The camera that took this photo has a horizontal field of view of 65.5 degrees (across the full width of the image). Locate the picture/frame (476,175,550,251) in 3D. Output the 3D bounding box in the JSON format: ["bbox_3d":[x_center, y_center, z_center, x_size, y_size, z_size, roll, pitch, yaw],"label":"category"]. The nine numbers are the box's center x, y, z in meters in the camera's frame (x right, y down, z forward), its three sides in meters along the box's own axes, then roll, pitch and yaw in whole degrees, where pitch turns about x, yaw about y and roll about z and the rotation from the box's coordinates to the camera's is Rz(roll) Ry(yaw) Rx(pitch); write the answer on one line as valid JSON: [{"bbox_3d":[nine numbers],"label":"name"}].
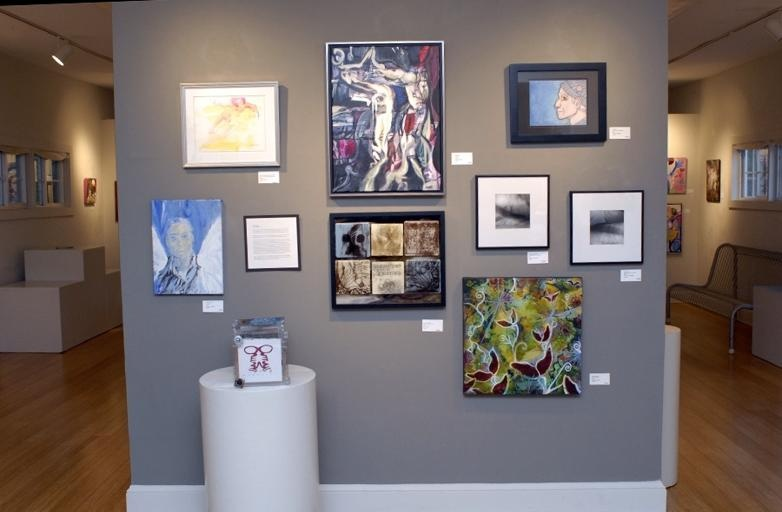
[{"bbox_3d":[1.103,-0.431,5.579,0.625,0.634,0.044,0,1,-1],"label":"picture/frame"}]

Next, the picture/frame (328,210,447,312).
[{"bbox_3d":[-0.033,0.002,5.590,0.830,0.737,0.063,0,4,1],"label":"picture/frame"}]

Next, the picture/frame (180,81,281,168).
[{"bbox_3d":[-1.445,-1.231,5.548,0.710,0.646,0.053,0,1,0],"label":"picture/frame"}]

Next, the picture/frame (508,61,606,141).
[{"bbox_3d":[1.525,-1.436,5.528,0.660,0.596,0.057,-1,1,-1],"label":"picture/frame"}]

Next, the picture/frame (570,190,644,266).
[{"bbox_3d":[1.978,-0.296,5.592,0.627,0.659,0.047,0,1,-2],"label":"picture/frame"}]
